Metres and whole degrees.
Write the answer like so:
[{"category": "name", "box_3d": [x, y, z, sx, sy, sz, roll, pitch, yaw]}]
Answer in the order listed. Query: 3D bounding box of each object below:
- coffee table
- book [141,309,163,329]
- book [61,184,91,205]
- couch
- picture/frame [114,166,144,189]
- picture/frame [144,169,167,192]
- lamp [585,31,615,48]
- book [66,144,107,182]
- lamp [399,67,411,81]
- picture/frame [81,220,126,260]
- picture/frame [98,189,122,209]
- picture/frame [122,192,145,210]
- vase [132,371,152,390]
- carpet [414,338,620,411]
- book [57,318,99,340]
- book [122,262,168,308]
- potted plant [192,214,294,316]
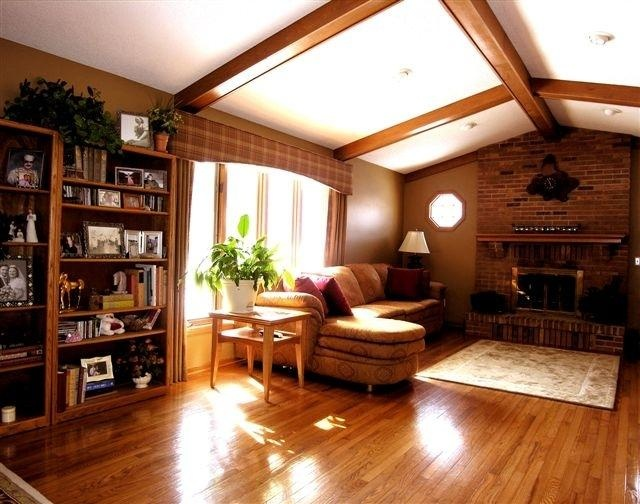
[{"category": "coffee table", "box_3d": [-0.574, 0.781, 4.261, 0.925, 0.872, 0.773, 3, 5, 41]}, {"category": "book", "box_3d": [-1.474, 0.591, 3.891, 0.162, 0.041, 0.160, -12, 7, 5]}, {"category": "book", "box_3d": [-1.862, -0.439, 3.429, 0.190, 0.148, 0.118, 0, 5, -21]}, {"category": "couch", "box_3d": [0.362, 0.893, 4.341, 0.992, 0.510, 1.357, -4, -5, 37]}, {"category": "picture/frame", "box_3d": [-1.578, -0.605, 3.680, 0.216, 0.152, 0.021, 1, -4, -38]}, {"category": "picture/frame", "box_3d": [-1.416, -0.602, 3.824, 0.212, 0.175, 0.021, 1, -4, -43]}, {"category": "lamp", "box_3d": [2.318, -1.748, 3.667, 0.117, 0.034, 0.117, 6, -6, 16]}, {"category": "book", "box_3d": [-1.855, -0.673, 3.491, 0.245, 0.310, 0.324, 3, 0, -44]}, {"category": "lamp", "box_3d": [0.845, -1.755, 4.410, 0.119, 0.059, 0.209, 3, 5, 13]}, {"category": "picture/frame", "box_3d": [-1.743, -0.088, 3.574, 0.037, 0.328, 0.330, -8, -7, 37]}, {"category": "picture/frame", "box_3d": [-1.694, -0.423, 3.574, 0.023, 0.123, 0.175, -13, -12, 41]}, {"category": "picture/frame", "box_3d": [-1.567, -0.419, 3.724, 0.018, 0.124, 0.175, -4, -5, 31]}, {"category": "vase", "box_3d": [-1.497, 1.084, 3.765, 0.138, 0.113, 0.133, 3, -15, -14]}, {"category": "carpet", "box_3d": [2.292, 1.279, 4.979, 1.716, 0.109, 2.262, 5, 5, 35]}, {"category": "book", "box_3d": [-1.863, 0.592, 3.419, 0.182, 0.060, 0.186, 1, 2, 36]}, {"category": "book", "box_3d": [-1.516, 0.252, 3.935, 0.324, 0.431, 0.451, 0, -3, -41]}, {"category": "potted plant", "box_3d": [-0.763, 0.186, 4.429, 0.948, 0.813, 0.960, -6, -10, 43]}]
